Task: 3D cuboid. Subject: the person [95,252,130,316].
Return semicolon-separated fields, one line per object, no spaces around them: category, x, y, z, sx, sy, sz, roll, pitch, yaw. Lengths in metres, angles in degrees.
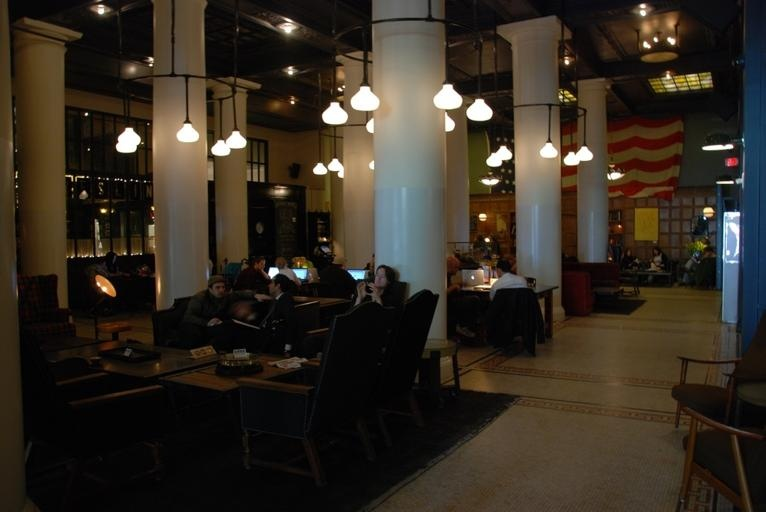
person;-5.739;0.580;12.849;0.718;1.285;0.482;-10;3;-13

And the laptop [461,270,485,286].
laptop;1.512;0.372;10.284;0.355;0.266;0.268;2;-8;1

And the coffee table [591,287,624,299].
coffee table;4.883;0.796;13.332;0.546;0.143;0.566;0;0;27

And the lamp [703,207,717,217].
lamp;9.736;-1.288;18.296;0.292;0.224;0.277;3;-4;-42

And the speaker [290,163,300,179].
speaker;-2.992;-2.858;20.726;0.400;0.494;0.456;0;-6;-4

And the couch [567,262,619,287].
couch;4.864;0.434;13.770;1.307;0.456;0.528;3;-4;31

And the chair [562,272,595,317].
chair;3.954;0.706;12.490;0.494;0.854;0.881;-1;1;31
